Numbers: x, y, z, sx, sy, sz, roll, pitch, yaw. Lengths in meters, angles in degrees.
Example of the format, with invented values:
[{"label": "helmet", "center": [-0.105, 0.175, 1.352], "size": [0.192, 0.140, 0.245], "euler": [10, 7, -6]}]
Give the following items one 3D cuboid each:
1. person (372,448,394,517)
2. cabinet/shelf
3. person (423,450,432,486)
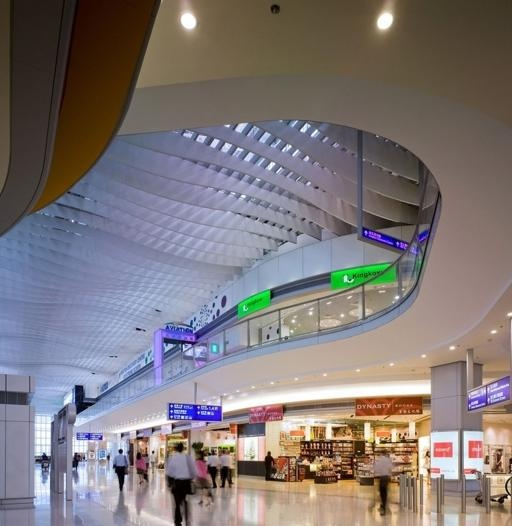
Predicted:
[{"label": "person", "center": [2.781, 4.729, 10.839], "size": [0.408, 1.128, 2.124], "euler": [-4, -18, 12]}, {"label": "cabinet/shelf", "center": [4.328, 8.071, 20.437], "size": [5.016, 1.685, 4.105], "euler": [-3, -19, 3]}, {"label": "person", "center": [6.707, 7.954, 19.709], "size": [0.233, 1.166, 0.719], "euler": [-5, -17, 15]}]
